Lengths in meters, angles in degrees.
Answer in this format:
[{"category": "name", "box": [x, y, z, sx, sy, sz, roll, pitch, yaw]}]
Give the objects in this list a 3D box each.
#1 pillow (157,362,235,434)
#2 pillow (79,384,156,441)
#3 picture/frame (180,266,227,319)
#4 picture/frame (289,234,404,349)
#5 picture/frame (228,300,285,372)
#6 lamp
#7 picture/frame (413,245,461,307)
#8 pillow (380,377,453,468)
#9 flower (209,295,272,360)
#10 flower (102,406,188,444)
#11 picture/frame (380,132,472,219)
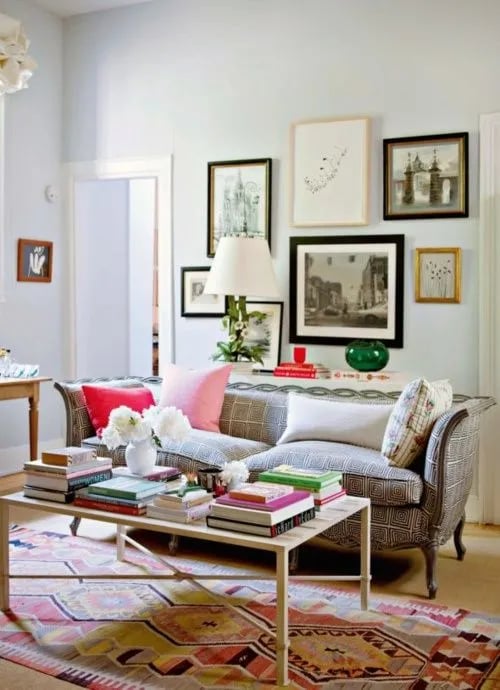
[{"category": "pillow", "box": [-0.320, 0.283, 3.261, 0.443, 0.382, 0.227, 3, 2, 34]}, {"category": "pillow", "box": [-0.663, 0.329, 3.107, 0.399, 0.252, 0.135, -1, 10, 4]}, {"category": "picture/frame", "box": [-0.292, -0.342, 3.957, 0.411, 0.372, 0.040, 2, 3, 26]}, {"category": "picture/frame", "box": [0.612, -0.330, 3.642, 0.785, 0.672, 0.030, 1, 2, 23]}, {"category": "picture/frame", "box": [0.044, -0.049, 3.794, 0.497, 0.652, 0.031, 1, 1, 33]}, {"category": "lamp", "box": [-0.051, -0.442, 3.572, 0.408, 0.301, 0.383, 1, 2, -5]}, {"category": "picture/frame", "box": [1.066, -0.392, 3.406, 0.377, 0.434, 0.046, 2, 3, 30]}, {"category": "pillow", "box": [0.748, 0.332, 2.505, 0.467, 0.348, 0.246, 6, -4, -42]}, {"category": "flower", "box": [-0.085, -0.098, 3.826, 0.379, 0.420, 0.348, 2, 4, 25]}, {"category": "flower", "box": [-0.337, 0.264, 1.961, 0.221, 0.132, 0.177, -3, 5, -45]}, {"category": "picture/frame", "box": [1.019, -0.966, 3.427, 0.597, 0.542, 0.024, 1, 1, 28]}]
